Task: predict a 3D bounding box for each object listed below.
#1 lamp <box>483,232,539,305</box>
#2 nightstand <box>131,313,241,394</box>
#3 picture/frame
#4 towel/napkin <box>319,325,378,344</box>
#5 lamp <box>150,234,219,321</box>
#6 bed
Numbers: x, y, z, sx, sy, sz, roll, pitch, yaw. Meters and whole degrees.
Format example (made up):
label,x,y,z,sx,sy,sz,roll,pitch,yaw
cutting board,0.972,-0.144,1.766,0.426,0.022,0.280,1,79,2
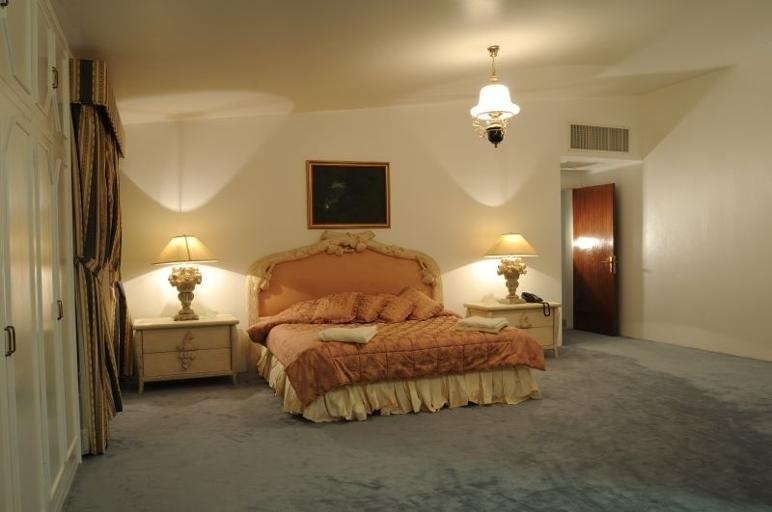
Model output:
label,x,y,z,sx,sy,sz,roll,pitch,yaw
lamp,1.598,0.168,7.466,0.937,1.179,0.878,1,1,-10
nightstand,-2.312,0.857,6.081,1.265,0.820,0.720,0,-4,-21
picture/frame,-0.554,-0.799,6.841,0.950,0.732,0.044,0,-4,-13
towel/napkin,-0.376,0.756,5.175,0.508,0.124,0.400,0,7,5
lamp,-2.363,0.233,6.118,0.575,0.936,0.603,-8,10,-42
bed,-0.256,0.861,6.017,2.193,1.553,2.434,0,-2,-21
